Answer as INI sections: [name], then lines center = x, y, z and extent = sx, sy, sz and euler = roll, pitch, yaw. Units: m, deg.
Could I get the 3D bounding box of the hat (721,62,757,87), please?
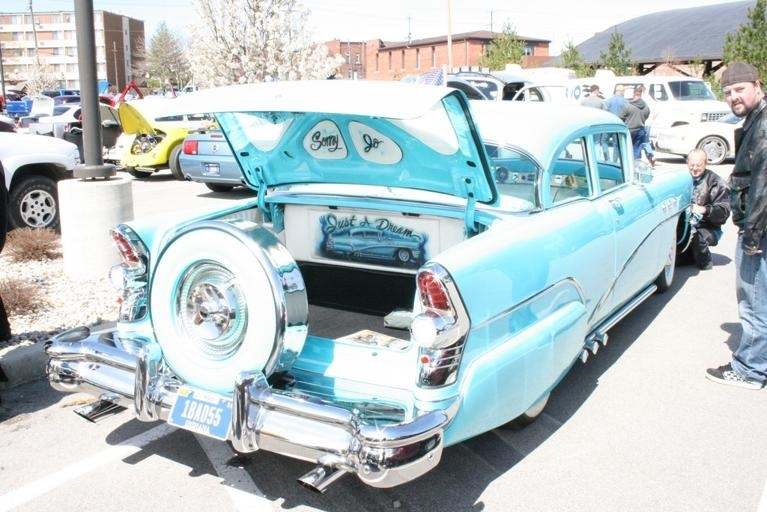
[hat]
center = 3.001, -1.518, 4.341
extent = 0.241, 0.161, 0.243
euler = -4, 10, 0

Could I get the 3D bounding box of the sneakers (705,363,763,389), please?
[sneakers]
center = 3.172, 1.088, 4.731
extent = 0.486, 0.223, 0.185
euler = 13, 10, 31

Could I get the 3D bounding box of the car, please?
[car]
center = 0.533, -0.130, 4.403
extent = 2.840, 1.819, 4.773
euler = 11, 24, 35
